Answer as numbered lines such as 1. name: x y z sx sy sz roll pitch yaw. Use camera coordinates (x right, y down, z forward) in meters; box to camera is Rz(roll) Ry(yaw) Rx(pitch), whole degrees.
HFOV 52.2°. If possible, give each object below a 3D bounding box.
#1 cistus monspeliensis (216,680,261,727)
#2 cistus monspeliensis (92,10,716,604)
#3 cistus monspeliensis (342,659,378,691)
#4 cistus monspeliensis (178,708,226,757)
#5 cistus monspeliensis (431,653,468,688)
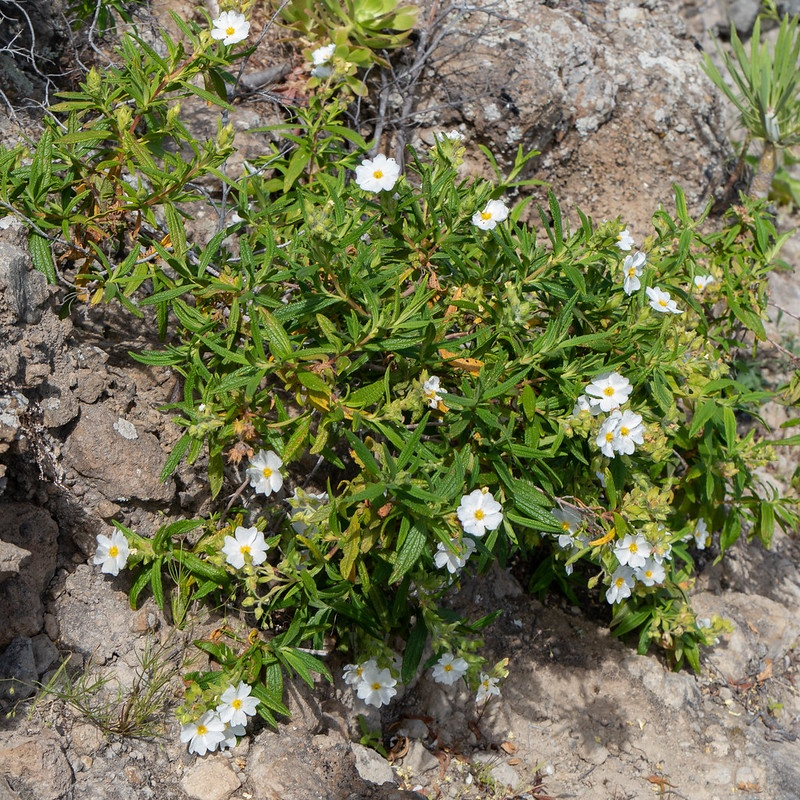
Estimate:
1. cistus monspeliensis: -0.619 1.226 3.237 0.162 0.160 0.136 -31 66 -29
2. cistus monspeliensis: 0.088 0.061 3.987 1.964 1.343 2.587 2 78 -5
3. cistus monspeliensis: -0.152 1.162 3.466 0.136 0.087 0.090 -3 56 -16
4. cistus monspeliensis: -0.737 1.300 3.176 0.172 0.090 0.113 -19 63 -24
5. cistus monspeliensis: 0.219 1.134 3.462 0.144 0.137 0.043 57 33 1
